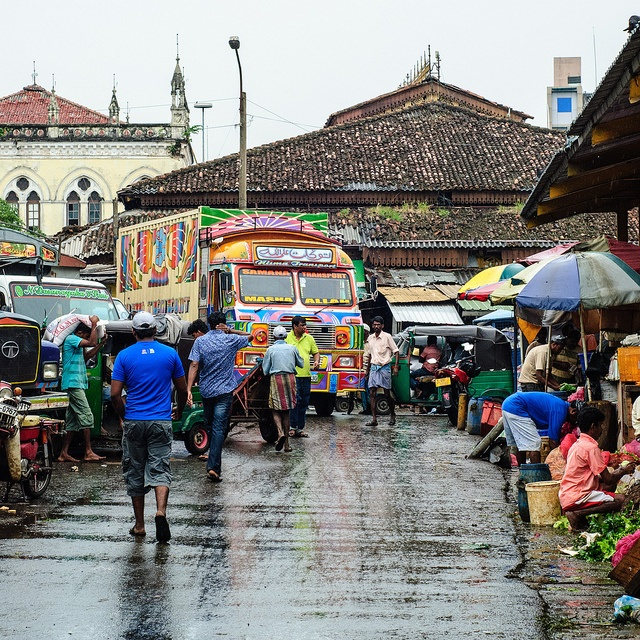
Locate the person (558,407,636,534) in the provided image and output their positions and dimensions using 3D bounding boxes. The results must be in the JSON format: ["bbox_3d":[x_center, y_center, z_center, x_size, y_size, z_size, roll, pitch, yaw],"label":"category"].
[{"bbox_3d":[2.506,1.349,9.652,0.587,1.092,0.533,-3,2,16],"label":"person"}]

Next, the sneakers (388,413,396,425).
[{"bbox_3d":[1.353,1.868,19.787,0.187,0.256,0.584,0,-6,8],"label":"sneakers"}]

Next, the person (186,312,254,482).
[{"bbox_3d":[-1.190,0.843,11.928,0.612,1.457,0.910,-3,2,8],"label":"person"}]

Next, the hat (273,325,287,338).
[{"bbox_3d":[-0.610,0.162,15.355,0.152,0.133,0.232,-1,10,-2],"label":"hat"}]

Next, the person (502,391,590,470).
[{"bbox_3d":[2.312,1.118,11.298,0.985,0.953,0.622,-3,5,0],"label":"person"}]

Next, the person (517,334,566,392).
[{"bbox_3d":[3.067,0.587,14.332,0.551,0.394,0.938,-3,-40,5],"label":"person"}]

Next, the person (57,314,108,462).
[{"bbox_3d":[-3.090,0.881,13.236,0.583,1.551,0.499,-4,2,-28],"label":"person"}]

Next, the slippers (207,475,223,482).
[{"bbox_3d":[-1.188,1.745,11.612,0.077,0.064,0.183,1,-16,32],"label":"slippers"}]

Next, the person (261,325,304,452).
[{"bbox_3d":[-0.541,0.991,14.833,0.556,1.247,0.877,-3,2,2],"label":"person"}]

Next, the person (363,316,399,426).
[{"bbox_3d":[1.063,0.937,19.099,0.523,1.344,1.170,-2,2,27],"label":"person"}]

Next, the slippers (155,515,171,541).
[{"bbox_3d":[-1.284,1.678,8.424,0.096,0.218,0.097,-4,1,-2],"label":"slippers"}]

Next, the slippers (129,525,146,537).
[{"bbox_3d":[-1.550,1.763,8.759,0.133,0.065,0.221,-4,2,-14],"label":"slippers"}]

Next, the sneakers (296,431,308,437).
[{"bbox_3d":[-0.315,1.794,16.501,0.213,0.086,0.071,1,4,-3],"label":"sneakers"}]

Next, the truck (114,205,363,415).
[{"bbox_3d":[-1.681,-0.464,20.263,2.632,2.980,4.901,1,-4,-28],"label":"truck"}]

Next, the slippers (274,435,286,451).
[{"bbox_3d":[-0.573,1.702,14.531,0.122,0.240,0.147,10,16,-12],"label":"slippers"}]

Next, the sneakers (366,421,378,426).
[{"bbox_3d":[0.927,1.840,18.657,0.224,0.093,0.081,4,-4,-11],"label":"sneakers"}]

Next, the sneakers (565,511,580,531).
[{"bbox_3d":[2.291,1.809,9.482,0.073,0.221,0.096,-11,-9,9],"label":"sneakers"}]

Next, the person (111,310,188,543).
[{"bbox_3d":[-1.501,0.857,9.110,0.680,1.571,1.409,-4,2,-8],"label":"person"}]
